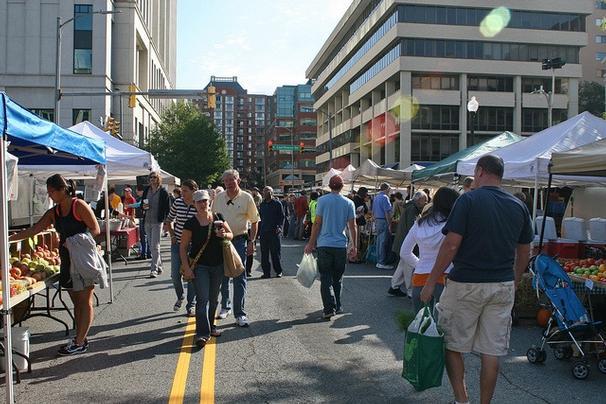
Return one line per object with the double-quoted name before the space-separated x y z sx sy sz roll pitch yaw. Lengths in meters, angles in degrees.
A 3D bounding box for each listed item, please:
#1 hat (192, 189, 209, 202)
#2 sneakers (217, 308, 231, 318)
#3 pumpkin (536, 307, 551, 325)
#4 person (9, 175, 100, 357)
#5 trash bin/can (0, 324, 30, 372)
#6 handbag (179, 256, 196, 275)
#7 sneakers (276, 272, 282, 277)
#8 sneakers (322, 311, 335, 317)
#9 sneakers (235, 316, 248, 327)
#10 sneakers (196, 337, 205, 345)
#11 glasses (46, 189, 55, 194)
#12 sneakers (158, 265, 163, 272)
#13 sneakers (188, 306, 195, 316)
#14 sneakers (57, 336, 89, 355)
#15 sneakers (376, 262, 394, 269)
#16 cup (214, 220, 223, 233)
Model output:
"hat" -1.849 -0.155 11.315 0.267 0.225 0.335 -2 12 -11
"sneakers" -1.635 2.247 12.859 0.223 0.151 0.431 1 12 3
"pumpkin" 4.731 2.230 12.483 0.320 0.410 0.333 0 3 21
"person" -4.162 1.003 11.261 1.071 3.095 0.968 7 14 31
"trash bin/can" -4.797 2.450 10.423 0.453 0.694 0.591 -4 13 -20
"handbag" -2.084 1.123 11.265 0.238 0.330 0.136 0 -8 19
"sneakers" -0.641 1.938 16.943 0.122 0.130 0.091 -7 -8 31
"sneakers" 0.514 2.268 12.823 0.281 0.132 0.166 -2 12 -10
"sneakers" -1.200 2.295 12.304 0.245 0.185 0.260 -2 12 -8
"sneakers" -1.827 2.487 11.292 0.195 0.159 0.136 -4 13 -17
"glasses" -4.420 -0.227 11.028 0.175 0.100 0.052 4 12 17
"sneakers" -3.857 1.780 16.931 0.140 0.268 0.198 2 -6 -10
"sneakers" -2.292 2.213 12.928 0.164 0.156 0.166 -8 14 -33
"sneakers" -4.044 2.544 11.137 0.568 0.273 0.210 7 -5 -22
"sneakers" 2.383 1.840 18.568 0.450 0.201 0.167 -1 1 -14
"cup" -1.523 0.388 11.272 0.163 0.169 0.169 -3 -2 0
